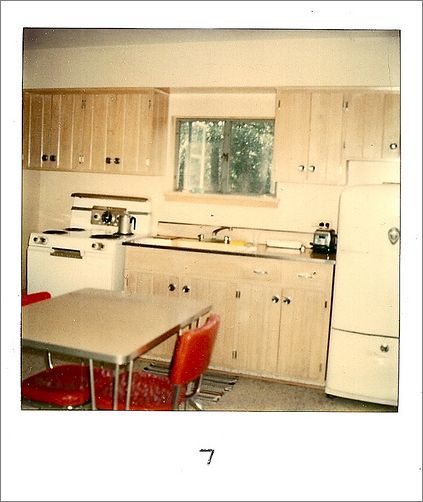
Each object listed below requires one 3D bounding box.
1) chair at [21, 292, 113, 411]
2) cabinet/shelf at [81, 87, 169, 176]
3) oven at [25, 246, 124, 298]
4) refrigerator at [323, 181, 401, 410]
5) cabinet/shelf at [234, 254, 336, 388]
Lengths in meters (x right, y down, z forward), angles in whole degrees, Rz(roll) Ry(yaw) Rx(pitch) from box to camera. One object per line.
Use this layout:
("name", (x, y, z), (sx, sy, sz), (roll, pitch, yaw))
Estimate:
("chair", (-0.446, 0.297, 1.425), (0.253, 0.327, 0.256), (1, 2, 33))
("cabinet/shelf", (-0.317, -0.450, 1.840), (0.296, 0.323, 0.117), (12, -5, 37))
("oven", (-0.587, 0.050, 1.975), (0.350, 0.258, 0.205), (6, 15, 0))
("refrigerator", (0.610, 0.180, 1.855), (0.277, 0.713, 0.228), (4, -1, 33))
("cabinet/shelf", (0.305, 0.198, 2.023), (0.352, 0.706, 0.257), (4, 40, 9))
